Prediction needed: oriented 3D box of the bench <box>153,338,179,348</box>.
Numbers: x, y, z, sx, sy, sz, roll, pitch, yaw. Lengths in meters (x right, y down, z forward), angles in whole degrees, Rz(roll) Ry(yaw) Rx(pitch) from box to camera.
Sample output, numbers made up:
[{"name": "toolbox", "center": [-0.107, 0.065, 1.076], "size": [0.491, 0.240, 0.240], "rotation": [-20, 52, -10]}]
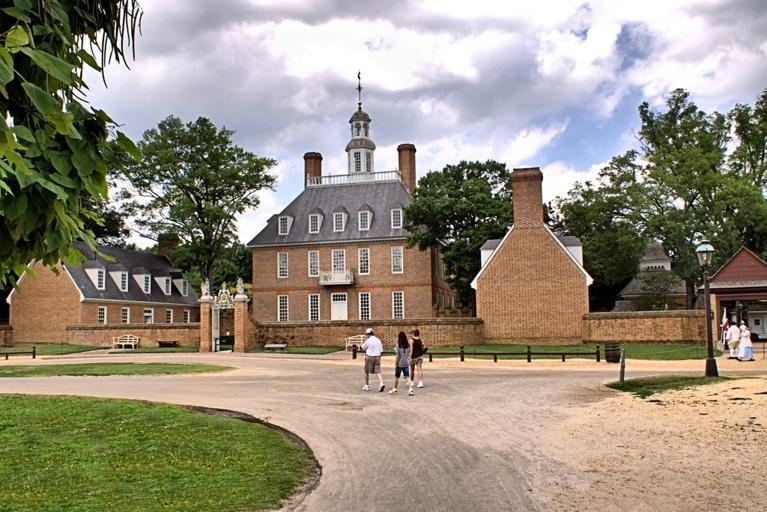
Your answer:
[{"name": "bench", "center": [-13.872, 5.601, 51.751], "size": [1.330, 0.403, 0.938], "rotation": [0, 1, -20]}]

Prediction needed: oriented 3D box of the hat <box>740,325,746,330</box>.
[{"name": "hat", "center": [16.156, 3.209, 36.064], "size": [0.168, 0.232, 0.567], "rotation": [1, 1, 18]}]

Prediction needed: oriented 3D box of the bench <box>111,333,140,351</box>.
[{"name": "bench", "center": [-16.501, 5.451, 51.544], "size": [1.651, 0.739, 1.074], "rotation": [0, 2, -21]}]
